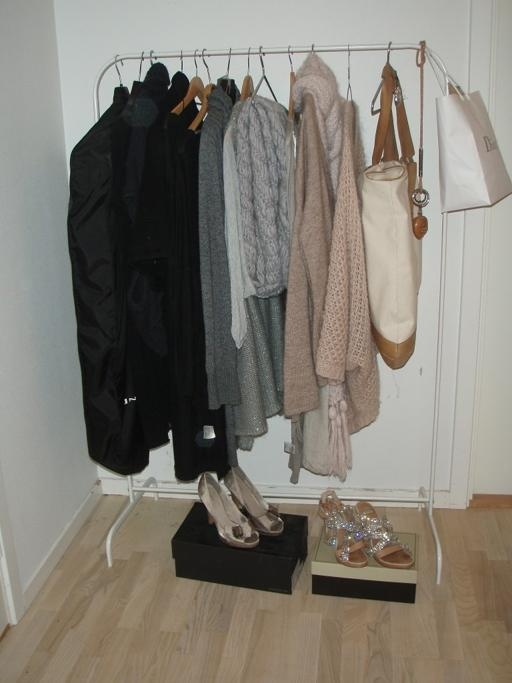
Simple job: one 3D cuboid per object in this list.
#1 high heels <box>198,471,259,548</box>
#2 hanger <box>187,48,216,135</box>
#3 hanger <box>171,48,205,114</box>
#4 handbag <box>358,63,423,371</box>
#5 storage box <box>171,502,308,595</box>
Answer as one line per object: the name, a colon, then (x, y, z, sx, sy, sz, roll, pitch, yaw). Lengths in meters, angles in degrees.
high heels: (-0.102, 0.541, 1.860, 0.098, 0.146, 0.293, -11, 29, -26)
hanger: (-0.163, -0.666, 1.555, 0.085, 0.210, 0.012, 29, 50, 24)
hanger: (-0.166, -0.731, 1.593, 0.003, 0.139, 0.180, -8, 25, -38)
handbag: (0.365, -0.320, 1.512, 0.165, 0.763, 0.263, 3, 13, 18)
storage box: (-0.051, 0.612, 1.790, 0.273, 0.136, 0.239, 4, 19, 7)
